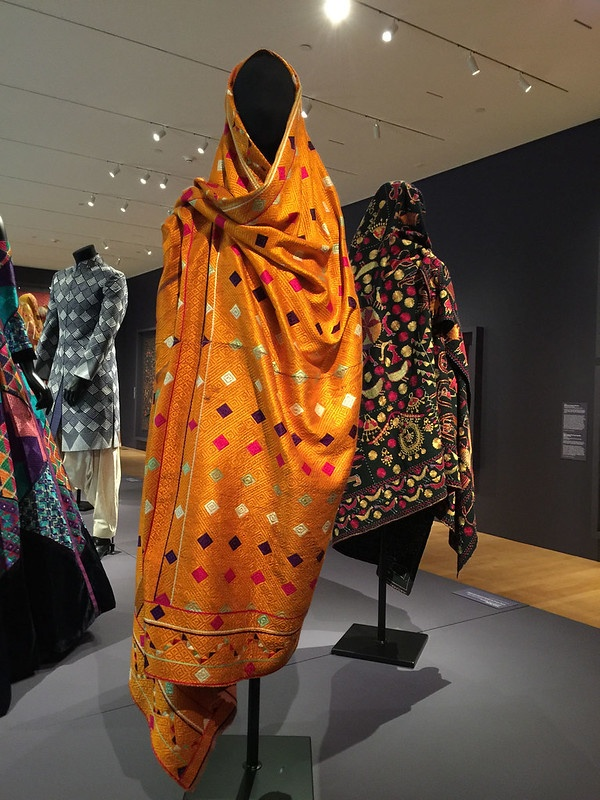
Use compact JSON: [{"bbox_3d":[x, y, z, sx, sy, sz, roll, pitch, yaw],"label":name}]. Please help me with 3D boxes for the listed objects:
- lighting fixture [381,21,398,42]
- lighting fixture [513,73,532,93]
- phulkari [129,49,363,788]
[{"bbox_3d":[0.405,-1.664,2.911,0.052,0.122,0.046,22,-42,7],"label":"lighting fixture"},{"bbox_3d":[1.152,-1.626,3.309,0.075,0.079,0.067,-30,-3,2],"label":"lighting fixture"},{"bbox_3d":[-0.076,0.022,1.156,0.398,1.205,0.221,3,-1,-13],"label":"phulkari"}]
